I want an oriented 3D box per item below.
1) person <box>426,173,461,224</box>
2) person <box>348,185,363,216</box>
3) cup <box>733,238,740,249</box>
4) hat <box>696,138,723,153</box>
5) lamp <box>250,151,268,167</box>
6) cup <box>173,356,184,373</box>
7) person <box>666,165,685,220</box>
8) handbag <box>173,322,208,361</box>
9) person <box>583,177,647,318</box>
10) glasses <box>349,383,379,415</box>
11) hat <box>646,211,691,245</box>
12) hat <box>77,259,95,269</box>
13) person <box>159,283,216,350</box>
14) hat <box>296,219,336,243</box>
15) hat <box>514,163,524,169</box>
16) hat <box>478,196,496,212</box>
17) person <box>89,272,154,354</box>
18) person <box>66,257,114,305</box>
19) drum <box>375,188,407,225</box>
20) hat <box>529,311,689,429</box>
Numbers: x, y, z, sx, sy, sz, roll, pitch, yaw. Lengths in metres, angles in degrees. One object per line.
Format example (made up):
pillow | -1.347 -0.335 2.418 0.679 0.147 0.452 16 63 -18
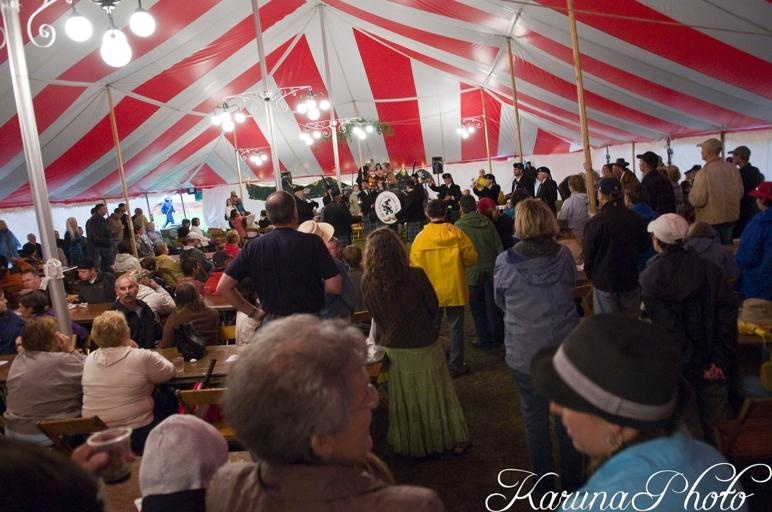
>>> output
person | 1.455 -1.212 13.173 0.759 1.442 0.472 -8 17 7
person | -0.798 -1.481 15.244 0.352 1.191 1.033 -3 8 -3
cup | 4.495 -0.150 7.156 0.109 0.079 0.091 7 17 27
hat | 4.336 -1.458 7.419 0.209 0.193 0.558 -4 8 29
lamp | -4.542 -3.490 20.114 0.695 0.826 0.197 -2 19 0
cup | -1.821 0.980 4.961 0.077 0.111 0.118 -1 9 -15
person | 4.127 -0.913 8.088 0.214 0.698 0.229 -5 -2 -34
handbag | -1.821 0.806 5.181 0.136 0.227 0.242 -27 1 -38
person | 2.233 0.147 5.427 0.634 1.761 0.584 -5 22 10
glasses | -0.102 0.575 2.248 0.087 0.104 0.119 -6 39 25
hat | 2.194 -0.246 4.329 0.213 0.142 0.280 -11 33 17
hat | -4.125 0.112 7.732 0.210 0.124 0.182 -13 8 -37
person | -2.044 0.642 5.739 0.487 0.713 0.399 -6 37 -16
hat | -0.701 -0.263 5.692 0.287 0.096 0.266 10 63 34
hat | 2.456 -1.640 10.222 0.168 0.084 0.141 -6 9 -34
hat | 1.200 -0.602 6.705 0.207 0.117 0.146 -33 31 -23
person | -2.661 0.628 6.105 0.546 0.389 1.148 -13 22 -31
person | -4.090 0.379 7.898 0.639 0.708 0.352 -4 14 -12
drum | 0.083 -1.003 12.774 0.710 0.711 0.689 7 -16 -28
hat | 0.870 0.470 2.194 0.480 0.197 0.400 21 36 22
